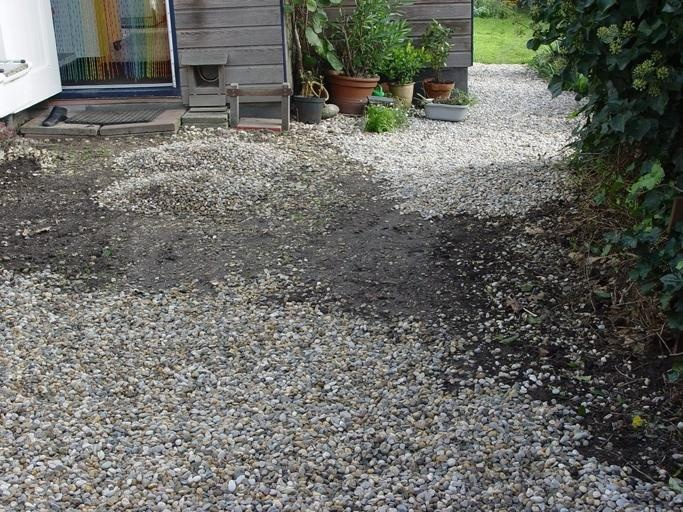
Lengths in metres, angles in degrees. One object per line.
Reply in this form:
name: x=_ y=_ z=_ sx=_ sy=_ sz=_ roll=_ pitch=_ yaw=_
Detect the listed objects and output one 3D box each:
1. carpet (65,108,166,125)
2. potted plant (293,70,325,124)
carpet: x=-2.823 y=-1.712 z=7.005 sx=1.108 sy=0.141 sz=0.729 roll=-2 pitch=19 yaw=-10
potted plant: x=-0.406 y=-2.118 z=7.558 sx=0.441 sy=0.625 sz=0.891 roll=1 pitch=22 yaw=-2
